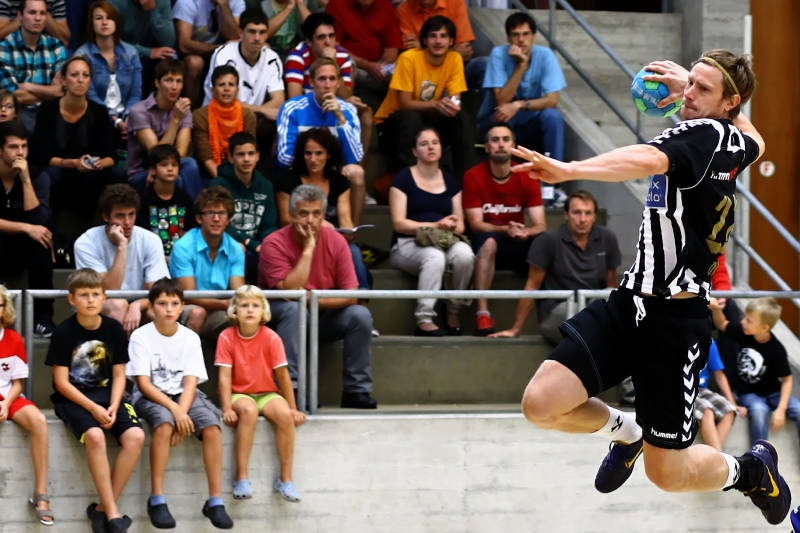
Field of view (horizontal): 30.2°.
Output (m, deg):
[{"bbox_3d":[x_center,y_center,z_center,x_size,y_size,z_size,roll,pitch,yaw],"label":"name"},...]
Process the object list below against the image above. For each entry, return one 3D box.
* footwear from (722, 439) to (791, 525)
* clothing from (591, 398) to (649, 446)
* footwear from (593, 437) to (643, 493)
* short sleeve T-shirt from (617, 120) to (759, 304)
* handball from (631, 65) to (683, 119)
[{"bbox_3d":[2.822,1.601,11.361,0.320,0.846,0.371,11,51,45],"label":"footwear"},{"bbox_3d":[1.604,1.157,11.199,0.538,0.169,0.221,20,-10,-30],"label":"clothing"},{"bbox_3d":[1.656,1.495,11.413,0.211,0.550,0.236,44,21,30],"label":"footwear"},{"bbox_3d":[2.099,-0.409,10.878,1.121,1.309,0.697,4,7,-38],"label":"short sleeve T-shirt"},{"bbox_3d":[1.844,-1.291,10.928,0.373,0.402,0.416,-8,32,-8],"label":"handball"}]
